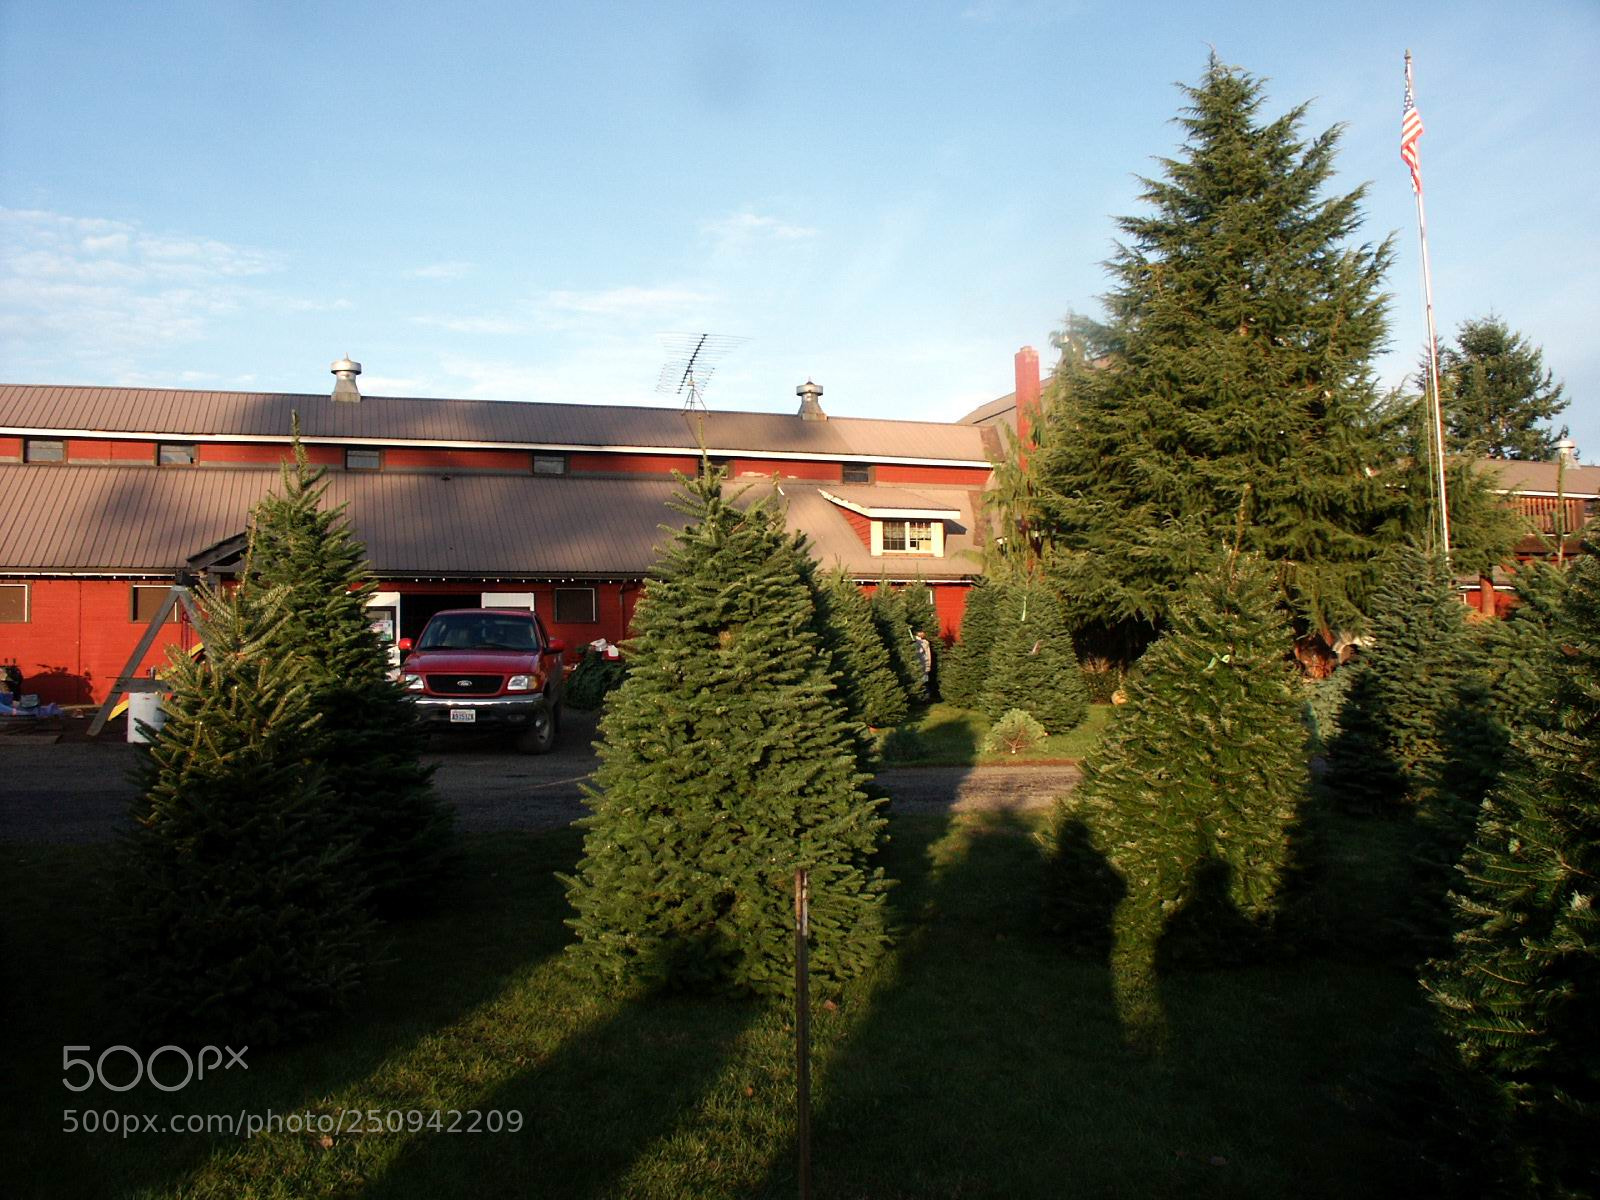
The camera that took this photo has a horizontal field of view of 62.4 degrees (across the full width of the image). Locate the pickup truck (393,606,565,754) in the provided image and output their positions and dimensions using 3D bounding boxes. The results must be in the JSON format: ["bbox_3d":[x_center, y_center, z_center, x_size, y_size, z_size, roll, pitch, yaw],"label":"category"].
[{"bbox_3d":[-4.875,1.382,20.441,2.256,2.144,2.282,0,10,-12],"label":"pickup truck"}]
